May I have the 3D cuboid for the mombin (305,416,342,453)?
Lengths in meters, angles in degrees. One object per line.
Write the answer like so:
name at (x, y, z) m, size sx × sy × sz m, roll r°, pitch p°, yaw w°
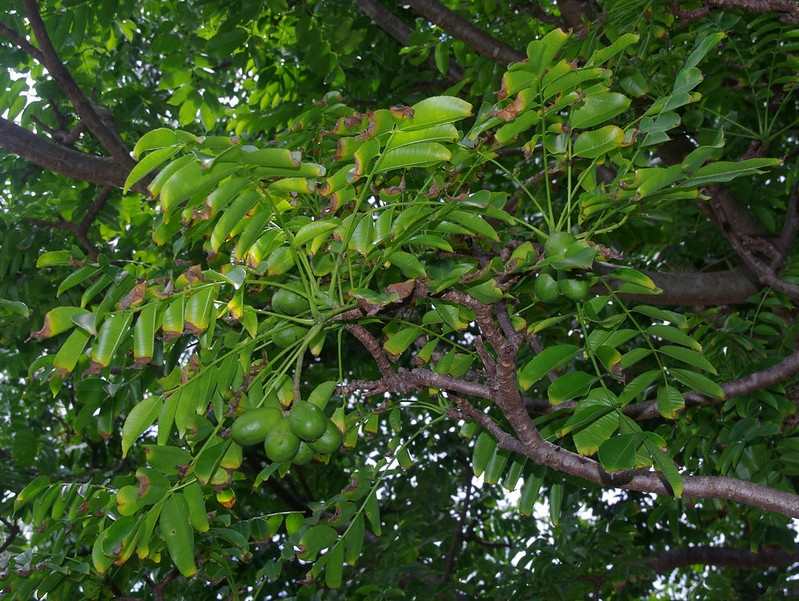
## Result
mombin at (-0.379, 0.700, 4.317) m, size 0.184 × 0.137 × 0.140 m, roll -1°, pitch 50°, yaw 27°

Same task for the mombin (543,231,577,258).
mombin at (0.800, -0.252, 4.149) m, size 0.157 × 0.131 × 0.127 m, roll -14°, pitch 51°, yaw 21°

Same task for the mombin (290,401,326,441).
mombin at (-0.482, 0.607, 4.237) m, size 0.161 × 0.195 × 0.152 m, roll -21°, pitch -24°, yaw -23°

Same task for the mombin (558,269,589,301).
mombin at (0.912, -0.068, 4.333) m, size 0.126 × 0.162 × 0.123 m, roll -2°, pitch 40°, yaw 31°

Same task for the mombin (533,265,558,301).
mombin at (0.769, -0.073, 4.360) m, size 0.115 × 0.158 × 0.101 m, roll 0°, pitch 0°, yaw -10°

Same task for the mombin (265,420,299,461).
mombin at (-0.592, 0.719, 4.254) m, size 0.155 × 0.201 × 0.157 m, roll 5°, pitch -4°, yaw -5°

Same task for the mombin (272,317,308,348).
mombin at (-0.595, 0.170, 4.418) m, size 0.211 × 0.101 × 0.113 m, roll -24°, pitch 33°, yaw -16°
